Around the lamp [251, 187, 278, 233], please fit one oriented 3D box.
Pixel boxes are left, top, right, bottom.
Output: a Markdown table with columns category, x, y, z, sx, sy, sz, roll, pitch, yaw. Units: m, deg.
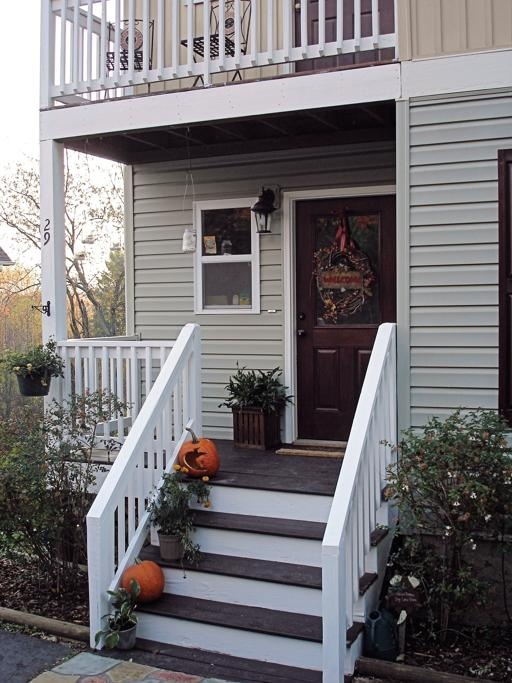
| category | x | y | z | sx | sy | sz | roll | pitch | yaw |
| --- | --- | --- | --- | --- | --- | --- | --- | --- | --- |
| lamp | 0.070 | -1.106 | 6.057 | 0.200 | 0.287 | 0.278 | 0 | 1 | 3 |

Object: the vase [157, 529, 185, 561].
| category | x | y | z | sx | sy | sz | roll | pitch | yaw |
| --- | --- | --- | --- | --- | --- | --- | --- | --- | --- |
| vase | -0.479 | 1.163 | 4.159 | 0.133 | 0.124 | 0.153 | 1 | 0 | -9 |

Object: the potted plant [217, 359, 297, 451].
| category | x | y | z | sx | sy | sz | roll | pitch | yaw |
| --- | --- | --- | --- | --- | --- | --- | --- | --- | --- |
| potted plant | 0.012 | 0.519 | 5.955 | 0.457 | 0.700 | 0.423 | 3 | 5 | 34 |

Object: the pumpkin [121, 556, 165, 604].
| category | x | y | z | sx | sy | sz | roll | pitch | yaw |
| --- | --- | --- | --- | --- | --- | --- | --- | --- | --- |
| pumpkin | -0.612 | 1.253 | 3.910 | 0.206 | 0.235 | 0.221 | -7 | -2 | -11 |

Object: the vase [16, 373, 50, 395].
| category | x | y | z | sx | sy | sz | roll | pitch | yaw |
| --- | --- | --- | --- | --- | --- | --- | --- | --- | --- |
| vase | -1.632 | 0.320 | 5.341 | 0.234 | 0.162 | 0.281 | -1 | 1 | -17 |
